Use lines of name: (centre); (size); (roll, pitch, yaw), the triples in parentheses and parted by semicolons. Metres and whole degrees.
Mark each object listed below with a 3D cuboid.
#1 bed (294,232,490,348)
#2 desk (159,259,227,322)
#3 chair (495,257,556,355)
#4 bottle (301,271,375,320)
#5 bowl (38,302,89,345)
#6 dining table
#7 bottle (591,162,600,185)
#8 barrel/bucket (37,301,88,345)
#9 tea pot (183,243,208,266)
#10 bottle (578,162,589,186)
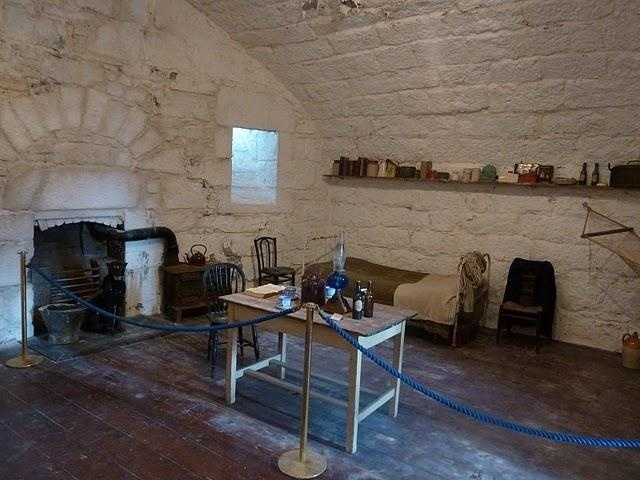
bed: (1.049, 0.587, 6.282); (2.297, 1.005, 1.354); (9, 14, 38)
desk: (-1.728, 0.729, 6.129); (0.751, 0.596, 0.487); (-2, 3, -35)
chair: (2.637, 0.782, 5.624); (0.751, 0.897, 0.593); (3, 9, 24)
bottle: (0.163, 0.441, 3.800); (0.619, 0.339, 0.371); (13, 15, 40)
bowl: (-2.969, 0.977, 5.128); (0.544, 0.329, 0.504); (-1, -1, 0)
dining table: (-0.080, 1.067, 4.045); (1.648, 0.848, 1.003); (5, 3, 43)
bottle: (3.411, -0.815, 5.461); (0.105, 0.286, 0.185); (11, 15, 27)
barrel/bucket: (-2.900, 0.926, 5.100); (0.532, 0.327, 0.474); (5, 9, 1)
tea pot: (-1.683, 0.195, 6.221); (0.370, 0.276, 0.242); (-7, 22, -30)
bottle: (3.310, -0.828, 5.541); (0.114, 0.288, 0.133); (11, 15, 27)
